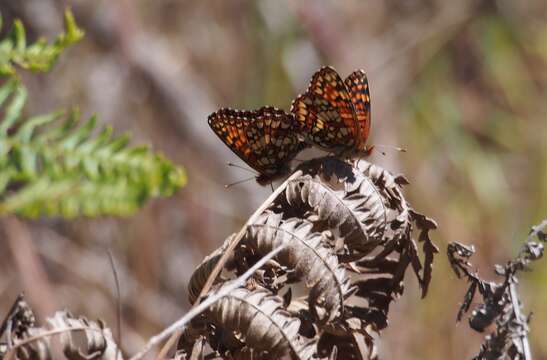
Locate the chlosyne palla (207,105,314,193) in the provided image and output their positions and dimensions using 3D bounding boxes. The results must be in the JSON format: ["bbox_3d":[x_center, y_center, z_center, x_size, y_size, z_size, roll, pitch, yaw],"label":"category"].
[{"bbox_3d":[-0.071,-0.207,5.135,0.331,0.361,0.363,59,-1,3],"label":"chlosyne palla"}]
